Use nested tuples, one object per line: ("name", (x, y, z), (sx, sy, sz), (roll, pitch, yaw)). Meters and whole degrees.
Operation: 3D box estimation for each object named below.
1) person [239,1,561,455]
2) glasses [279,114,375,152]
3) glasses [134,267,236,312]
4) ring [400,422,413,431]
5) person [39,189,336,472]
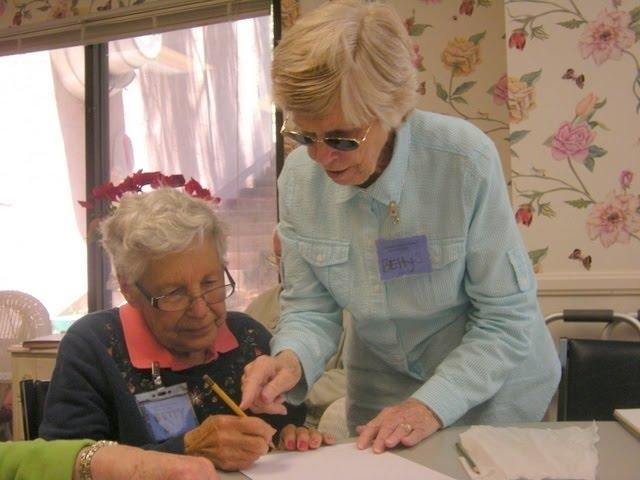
("person", (0.196, 0.028, 1.728), (0.871, 1.395, 0.576), (-1, 12, 20))
("glasses", (0.000, -0.293, 1.688), (0.260, 0.103, 0.090), (1, 13, 33))
("glasses", (-0.347, 0.155, 1.900), (0.224, 0.059, 0.211), (-1, -33, 10))
("ring", (0.236, 0.512, 1.668), (0.020, 0.020, 0.020), (-39, 2, 2))
("person", (-0.421, 0.301, 2.162), (0.779, 0.924, 1.063), (-16, -14, 37))
